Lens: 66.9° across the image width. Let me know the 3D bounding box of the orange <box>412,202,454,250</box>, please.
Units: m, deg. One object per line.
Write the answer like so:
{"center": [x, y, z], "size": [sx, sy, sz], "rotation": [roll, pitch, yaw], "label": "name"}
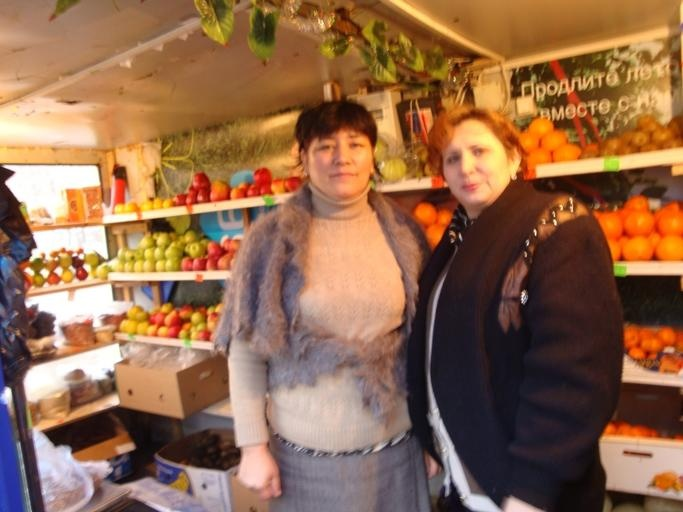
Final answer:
{"center": [0.516, -0.165, 2.800], "size": [0.264, 0.277, 0.109], "rotation": [3, -2, -42], "label": "orange"}
